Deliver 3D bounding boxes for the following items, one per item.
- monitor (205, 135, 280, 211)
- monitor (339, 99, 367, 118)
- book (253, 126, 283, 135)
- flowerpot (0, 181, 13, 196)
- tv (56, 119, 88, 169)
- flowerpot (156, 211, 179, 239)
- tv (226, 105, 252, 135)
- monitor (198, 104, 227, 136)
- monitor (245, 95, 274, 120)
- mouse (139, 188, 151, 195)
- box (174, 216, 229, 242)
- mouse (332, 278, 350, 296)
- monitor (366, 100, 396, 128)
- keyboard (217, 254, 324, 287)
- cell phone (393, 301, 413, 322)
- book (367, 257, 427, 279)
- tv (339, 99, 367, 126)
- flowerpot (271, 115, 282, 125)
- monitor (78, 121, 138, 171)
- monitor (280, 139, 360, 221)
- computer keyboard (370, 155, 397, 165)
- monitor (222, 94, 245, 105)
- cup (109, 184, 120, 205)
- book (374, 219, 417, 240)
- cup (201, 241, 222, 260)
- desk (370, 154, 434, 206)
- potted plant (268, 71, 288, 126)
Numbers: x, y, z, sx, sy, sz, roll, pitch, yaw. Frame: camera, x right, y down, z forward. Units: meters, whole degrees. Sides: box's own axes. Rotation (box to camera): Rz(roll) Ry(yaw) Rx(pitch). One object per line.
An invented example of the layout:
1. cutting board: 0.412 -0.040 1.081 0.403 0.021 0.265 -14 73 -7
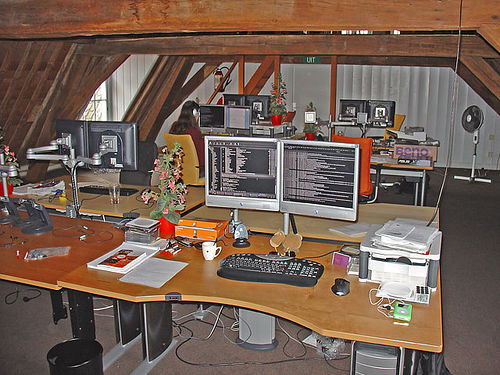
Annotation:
1. monitor: -0.049 -0.110 3.029 0.656 0.484 0.061 3 10 15
2. monitor: 1.822 -1.413 7.361 0.586 0.425 0.330 6 15 35
3. book: 0.352 -0.967 7.096 0.573 0.165 0.206 -1 5 -25
4. flowerpot: -2.280 0.025 3.853 0.144 0.120 0.121 3 10 9
5. tv: -1.662 -0.445 3.789 0.371 0.334 0.142 5 6 31
6. flowerpot: -0.632 0.305 3.130 0.175 0.151 0.147 1 13 -2
7. tv: -0.193 -1.187 7.301 0.577 0.512 0.072 25 33 18
8. monitor: -0.750 -1.243 7.665 0.198 0.550 0.668 8 10 41
9. monitor: 0.177 -1.517 7.910 0.676 0.570 0.216 7 25 17
10. mouse: -0.968 0.046 3.785 0.052 0.058 0.032 15 -3 4
11. box: -0.350 0.286 3.082 0.355 0.138 0.258 6 25 31
12. mouse: 0.542 0.596 2.455 0.099 0.082 0.117 5 6 30
13. monitor: 2.206 -1.234 7.021 0.486 0.391 0.235 4 14 22
14. keyboard: 0.130 0.528 2.653 0.657 0.124 0.280 2 5 10
15. cell phone: 0.835 0.689 2.260 0.093 0.061 0.126 4 5 21
16. book: 0.870 0.487 2.455 0.183 0.037 0.170 6 7 31
17. tv: 1.758 -1.347 7.453 0.473 0.378 0.259 0 8 -15
18. flowerpot: 0.447 -1.160 7.192 0.170 0.168 0.166 -13 24 -32
19. monitor: -1.246 -0.368 3.658 0.484 0.336 0.159 5 14 9
20. monitor: 0.486 -0.058 2.882 0.658 0.537 0.066 4 9 19
21. computer keyboard: 1.819 -0.364 5.629 0.273 0.059 0.231 2 13 -7
22. monitor: -0.350 -1.731 8.222 0.457 0.242 0.361 2 5 8
23. cup: -1.255 0.070 3.818 0.087 0.180 0.178 0 5 -17
24. book: 0.920 0.276 2.603 0.246 0.021 0.306 6 16 30
25. cup: -0.274 0.436 2.833 0.155 0.093 0.095 0 10 -7
26. desk: 2.126 0.004 5.893 0.638 0.660 0.791 8 8 20
27. potted plant: 0.463 -1.419 7.211 0.345 0.654 0.285 -2 -5 2
